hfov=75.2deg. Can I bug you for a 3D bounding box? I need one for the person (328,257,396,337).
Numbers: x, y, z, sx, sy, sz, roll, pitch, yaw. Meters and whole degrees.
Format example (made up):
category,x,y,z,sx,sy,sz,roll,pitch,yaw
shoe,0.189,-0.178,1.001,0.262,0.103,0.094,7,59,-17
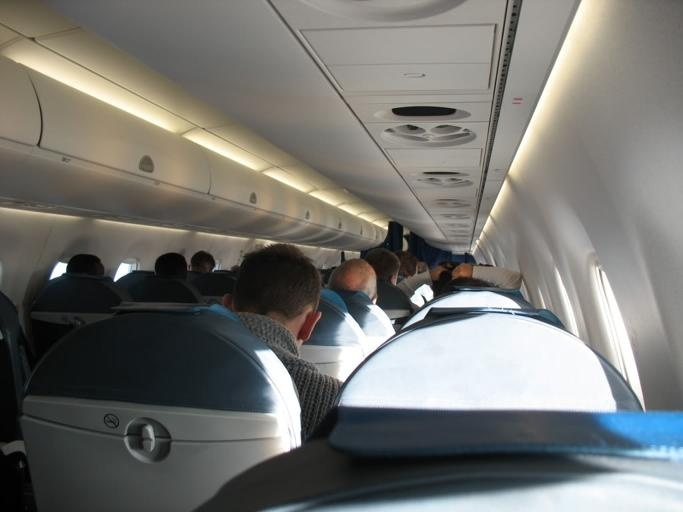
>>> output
category,x,y,z,sx,sy,sz,roll,pitch,yaw
person,0.153,0.311,3.445,0.756,0.411,0.528,2,24,4
